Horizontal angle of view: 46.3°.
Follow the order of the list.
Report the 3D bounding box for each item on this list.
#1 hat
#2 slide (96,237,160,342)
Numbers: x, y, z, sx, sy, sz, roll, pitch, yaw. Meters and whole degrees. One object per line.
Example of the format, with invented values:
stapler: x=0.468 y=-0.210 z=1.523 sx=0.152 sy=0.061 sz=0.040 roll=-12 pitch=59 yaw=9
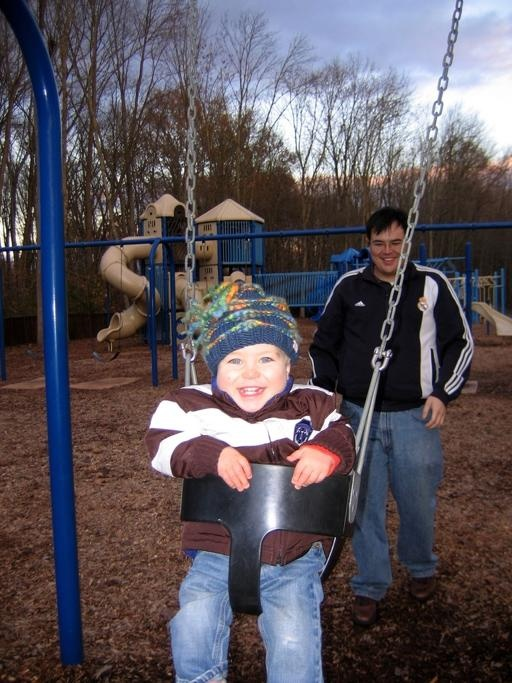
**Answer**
hat: x=-0.033 y=-0.035 z=1.564 sx=0.224 sy=0.217 sz=0.256 roll=7 pitch=-4 yaw=-41
slide: x=-2.466 y=-0.871 z=11.616 sx=1.137 sy=1.994 sz=1.787 roll=-1 pitch=11 yaw=-10
